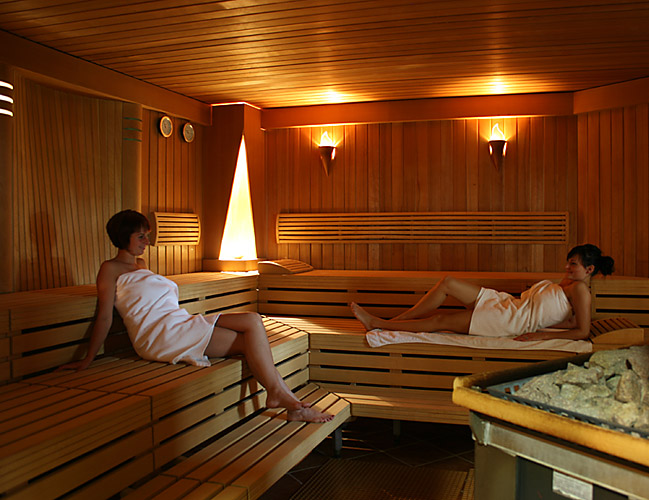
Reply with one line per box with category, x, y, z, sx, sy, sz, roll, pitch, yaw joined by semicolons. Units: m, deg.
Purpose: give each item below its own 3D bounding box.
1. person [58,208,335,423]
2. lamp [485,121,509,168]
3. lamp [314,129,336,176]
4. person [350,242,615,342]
person;-0.576;0.323;2.726;1.409;0.938;0.632;12;16;15
lamp;1.660;-0.986;4.779;0.179;0.476;0.180;3;9;40
lamp;0.023;-1.014;5.150;0.195;0.451;0.152;-1;4;6
person;1.125;0.252;3.730;1.844;0.721;0.733;1;-6;16
